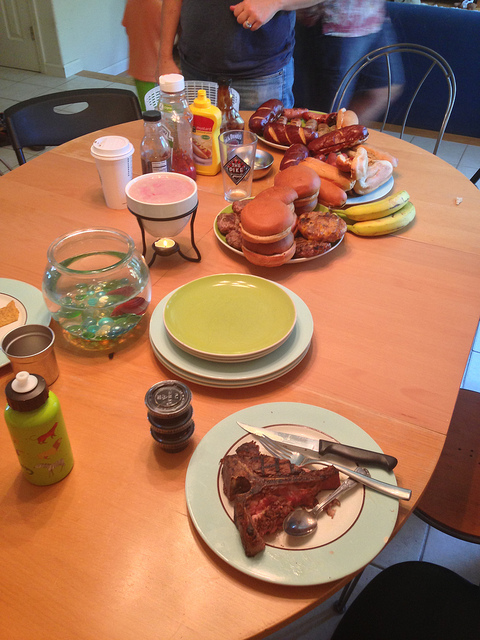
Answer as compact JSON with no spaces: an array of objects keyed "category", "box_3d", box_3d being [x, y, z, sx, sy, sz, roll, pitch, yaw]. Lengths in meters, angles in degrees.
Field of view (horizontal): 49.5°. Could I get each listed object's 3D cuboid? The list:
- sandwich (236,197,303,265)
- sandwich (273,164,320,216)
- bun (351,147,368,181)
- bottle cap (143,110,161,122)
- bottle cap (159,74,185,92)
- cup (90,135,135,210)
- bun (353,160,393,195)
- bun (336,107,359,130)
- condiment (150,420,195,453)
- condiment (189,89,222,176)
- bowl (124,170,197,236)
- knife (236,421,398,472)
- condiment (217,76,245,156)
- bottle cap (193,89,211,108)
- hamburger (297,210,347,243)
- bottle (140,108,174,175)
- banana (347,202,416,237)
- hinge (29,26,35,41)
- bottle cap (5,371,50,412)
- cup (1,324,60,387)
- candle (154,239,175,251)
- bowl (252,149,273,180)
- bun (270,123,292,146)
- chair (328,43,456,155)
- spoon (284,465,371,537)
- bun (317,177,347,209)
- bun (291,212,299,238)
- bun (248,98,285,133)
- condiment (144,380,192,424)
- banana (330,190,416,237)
[{"category":"sandwich","box_3d":[0.060,-0.191,1.127,0.146,0.119,0.139,-21,43,-27]},{"category":"sandwich","box_3d":[0.135,-0.290,1.209,0.118,0.102,0.111,-6,31,1]},{"category":"bun","box_3d":[0.296,-0.382,1.282,0.038,0.040,0.112,-3,37,26]},{"category":"bottle cap","box_3d":[-0.193,-0.447,1.143,0.037,0.023,0.025,-9,35,-10]},{"category":"bottle cap","box_3d":[-0.160,-0.567,1.234,0.054,0.022,0.054,32,52,28]},{"category":"cup","box_3d":[-0.302,-0.377,1.306,0.094,0.173,0.182,2,35,6]},{"category":"bun","box_3d":[0.345,-0.365,1.354,0.061,0.041,0.124,33,55,13]},{"category":"bun","box_3d":[0.320,-0.590,1.547,0.078,0.037,0.092,2,57,-5]},{"category":"condiment","box_3d":[-0.090,0.164,0.710,0.052,0.028,0.048,-1,41,-3]},{"category":"condiment","box_3d":[-0.077,-0.501,1.406,0.106,0.214,0.097,0,34,-1]},{"category":"bowl","box_3d":[-0.165,-0.238,1.086,0.143,0.091,0.134,0,50,-1]},{"category":"knife","box_3d":[0.101,0.175,0.708,0.224,0.023,0.028,6,45,19]},{"category":"condiment","box_3d":[-0.023,-0.538,1.448,0.100,0.243,0.109,6,36,5]},{"category":"bottle cap","box_3d":[-0.098,-0.566,1.339,0.049,0.043,0.045,1,46,-1]},{"category":"hamburger","box_3d":[0.173,-0.219,1.166,0.104,0.047,0.141,-10,35,-12]},{"category":"bottle","box_3d":[-0.202,-0.409,1.272,0.077,0.197,0.071,0,44,0]},{"category":"banana","box_3d":[0.336,-0.238,1.238,0.154,0.033,0.051,-18,71,-3]},{"category":"hinge","box_3d":[-1.842,-2.545,4.602,0.027,0.107,0.099,-24,22,-31]},{"category":"bottle cap","box_3d":[-0.245,0.079,0.595,0.044,0.054,0.030,-21,40,-25]},{"category":"cup","box_3d":[-0.300,0.053,0.741,0.085,0.058,0.076,10,35,9]},{"category":"candle","box_3d":[-0.166,-0.167,1.154,0.043,0.008,0.050,-7,34,-8]},{"category":"bowl","box_3d":[0.063,-0.445,1.473,0.088,0.033,0.081,-2,49,2]},{"category":"bun","box_3d":[0.120,-0.544,1.527,0.028,0.054,0.095,-15,36,-17]},{"category":"chair","box_3d":[0.645,-0.962,2.304,0.451,0.517,1.063,5,35,11]},{"category":"spoon","box_3d":[0.116,0.211,0.658,0.042,0.019,0.172,10,18,38]},{"category":"bun","box_3d":[0.213,-0.305,1.252,0.044,0.032,0.092,-30,41,-17]},{"category":"bun","box_3d":[0.120,-0.202,1.127,0.017,0.043,0.044,-5,48,9]},{"category":"bun","box_3d":[0.080,-0.630,1.619,0.110,0.087,0.149,-1,34,1]},{"category":"condiment","box_3d":[-0.094,0.113,0.692,0.060,0.042,0.065,-17,37,-21]},{"category":"banana","box_3d":[0.331,-0.244,1.231,0.220,0.074,0.092,-10,27,-3]}]
